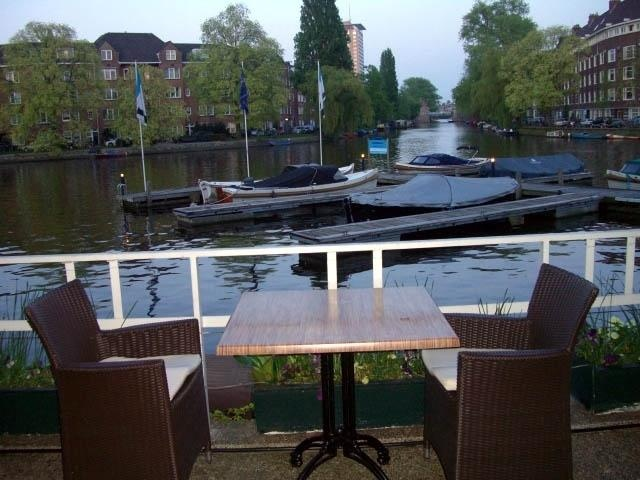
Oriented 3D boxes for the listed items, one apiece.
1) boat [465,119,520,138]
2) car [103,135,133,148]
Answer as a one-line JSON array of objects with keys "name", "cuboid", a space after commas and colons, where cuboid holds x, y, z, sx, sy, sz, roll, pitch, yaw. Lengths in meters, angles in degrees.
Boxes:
[{"name": "boat", "cuboid": [22.974, -15.996, 94.459, 2.196, 1.232, 63.631, -2, 10, 9]}, {"name": "car", "cuboid": [-17.888, -8.626, 60.135, 2.287, 0.826, 6.605, -7, 11, -17]}]
